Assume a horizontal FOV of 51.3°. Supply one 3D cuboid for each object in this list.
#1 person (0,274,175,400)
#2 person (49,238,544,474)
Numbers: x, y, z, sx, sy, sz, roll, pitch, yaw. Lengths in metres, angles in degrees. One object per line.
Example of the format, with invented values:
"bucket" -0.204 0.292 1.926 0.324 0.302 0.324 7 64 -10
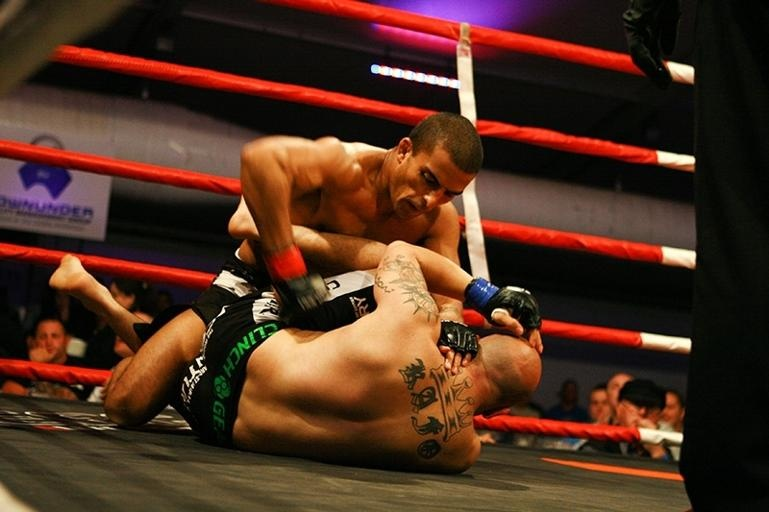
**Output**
"person" -2.586 0.661 6.646 1.428 0.297 1.241 14 -4 -21
"person" -0.448 0.502 3.857 2.008 0.793 1.021 2 16 23
